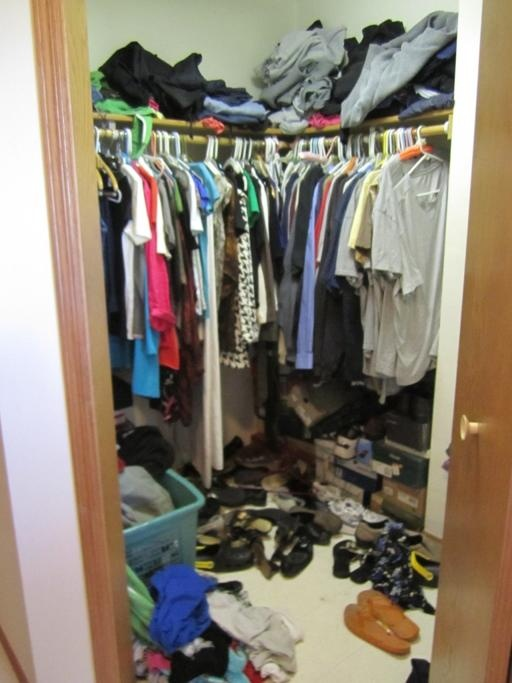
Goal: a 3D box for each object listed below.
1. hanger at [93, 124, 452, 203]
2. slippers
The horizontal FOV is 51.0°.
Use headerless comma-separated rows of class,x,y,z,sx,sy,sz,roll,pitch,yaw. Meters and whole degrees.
hanger,0.077,-0.778,2.245,1.424,0.270,0.971,-3,12,-2
slippers,0.401,0.880,1.691,0.239,0.041,0.202,8,16,41
